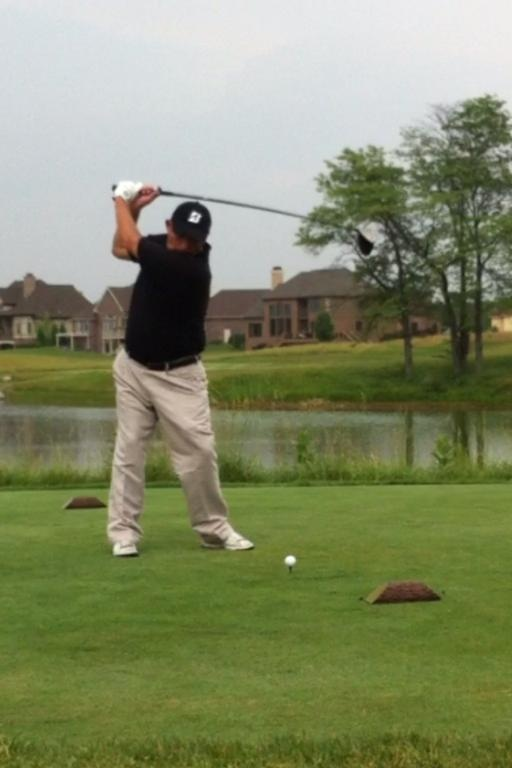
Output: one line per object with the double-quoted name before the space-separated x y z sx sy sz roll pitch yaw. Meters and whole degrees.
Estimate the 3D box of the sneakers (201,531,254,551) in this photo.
"sneakers" -0.136 0.774 6.905 0.226 0.113 0.105 -2 0 13

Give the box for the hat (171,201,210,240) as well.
"hat" -0.306 -0.753 6.703 0.180 0.187 0.118 -1 5 -5

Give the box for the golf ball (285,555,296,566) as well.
"golf ball" 0.152 0.799 6.383 0.044 0.050 0.048 -3 3 0

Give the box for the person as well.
"person" -0.404 -0.081 6.845 0.635 1.761 0.628 -1 5 -5

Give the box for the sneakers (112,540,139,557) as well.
"sneakers" -0.600 0.772 6.592 0.121 0.059 0.108 -1 6 -5
